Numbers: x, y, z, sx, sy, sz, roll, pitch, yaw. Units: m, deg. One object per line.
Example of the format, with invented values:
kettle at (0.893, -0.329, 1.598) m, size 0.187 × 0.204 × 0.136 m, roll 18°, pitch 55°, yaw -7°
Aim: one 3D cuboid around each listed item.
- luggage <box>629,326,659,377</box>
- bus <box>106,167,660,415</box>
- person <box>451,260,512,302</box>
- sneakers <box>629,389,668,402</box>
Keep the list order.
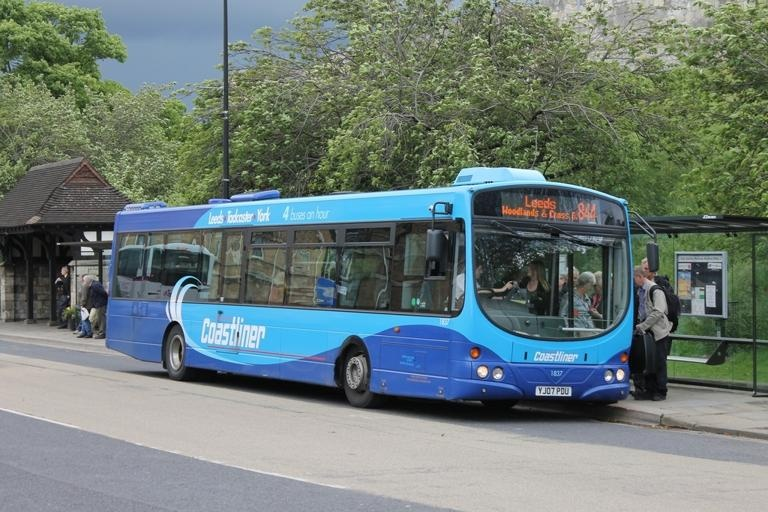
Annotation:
luggage at (4.705, 1.716, 13.215) m, size 0.316 × 0.946 × 0.973 m, roll 1°, pitch -1°, yaw -14°
bus at (-1.752, 0.800, 16.558) m, size 4.623 × 4.137 × 12.866 m, roll 3°, pitch -6°, yaw -36°
person at (1.622, 0.479, 12.100) m, size 0.950 × 0.672 × 0.312 m, roll 0°, pitch -4°, yaw 10°
sneakers at (5.008, 2.665, 13.791) m, size 0.674 × 0.288 × 0.227 m, roll -8°, pitch -5°, yaw 25°
